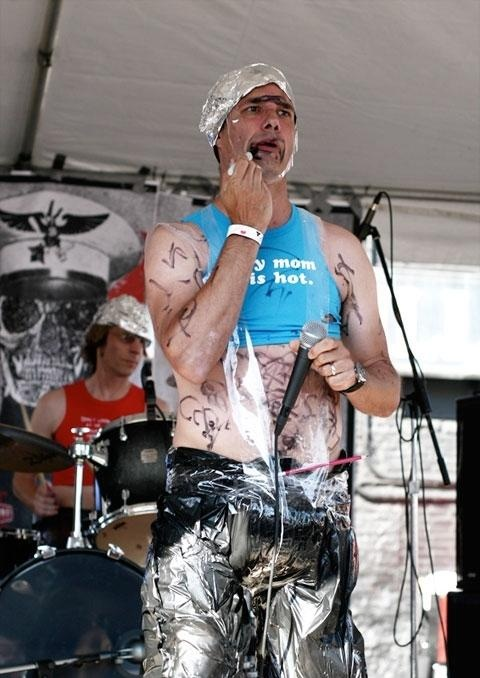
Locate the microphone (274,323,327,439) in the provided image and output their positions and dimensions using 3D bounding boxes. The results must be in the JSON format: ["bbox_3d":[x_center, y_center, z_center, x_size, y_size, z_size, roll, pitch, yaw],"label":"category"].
[{"bbox_3d":[0.131,0.086,2.638,0.155,0.275,0.113,3,6,-5],"label":"microphone"}]

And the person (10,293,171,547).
[{"bbox_3d":[-0.672,0.244,4.724,0.503,1.255,0.422,-3,8,-43],"label":"person"}]

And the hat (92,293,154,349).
[{"bbox_3d":[-0.512,-0.107,4.836,0.252,0.261,0.214,5,6,34],"label":"hat"}]
